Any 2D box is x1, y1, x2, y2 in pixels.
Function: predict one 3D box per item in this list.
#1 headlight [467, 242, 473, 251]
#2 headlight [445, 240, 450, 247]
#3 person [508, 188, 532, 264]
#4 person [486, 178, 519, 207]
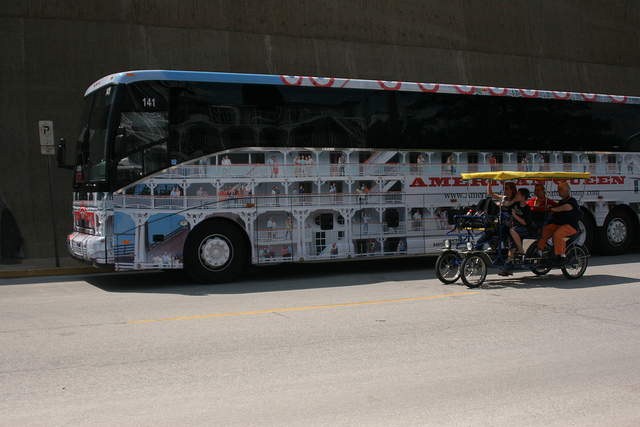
[{"bbox_3d":[3.999,0.883,24.780,0.197,0.169,0.303,2,-8,25],"label":"headlight"},{"bbox_3d":[3.402,0.810,24.874,0.142,0.148,0.139,-3,3,2],"label":"headlight"},{"bbox_3d":[5.473,0.336,25.529,0.437,2.011,0.982,5,10,34],"label":"person"},{"bbox_3d":[5.090,-0.552,26.208,0.745,0.617,1.032,12,0,-7],"label":"person"}]
